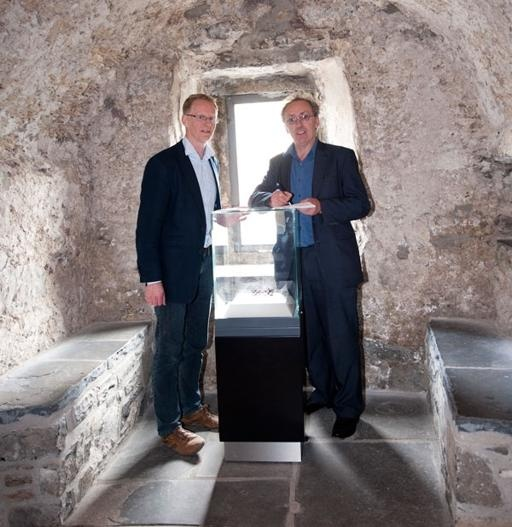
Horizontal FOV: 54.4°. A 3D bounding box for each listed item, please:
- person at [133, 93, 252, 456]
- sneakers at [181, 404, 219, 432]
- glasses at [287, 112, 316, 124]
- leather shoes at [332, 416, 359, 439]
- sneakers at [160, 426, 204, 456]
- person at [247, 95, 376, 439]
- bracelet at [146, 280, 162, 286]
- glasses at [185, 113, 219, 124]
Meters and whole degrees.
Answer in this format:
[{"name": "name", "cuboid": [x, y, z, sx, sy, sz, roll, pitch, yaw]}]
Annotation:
[{"name": "person", "cuboid": [-0.406, 0.071, 2.777, 0.360, 1.950, 0.532, 2, 12, 20]}, {"name": "sneakers", "cuboid": [-0.384, 0.958, 3.099, 0.310, 0.151, 0.111, 1, 7, 8]}, {"name": "glasses", "cuboid": [0.247, -0.808, 2.777, 0.142, 0.058, 0.044, -3, 11, -1]}, {"name": "leather shoes", "cuboid": [0.506, 0.934, 2.834, 0.117, 0.104, 0.096, 3, -8, 3]}, {"name": "sneakers", "cuboid": [-0.399, 0.967, 2.785, 0.253, 0.119, 0.104, 4, 9, 31]}, {"name": "person", "cuboid": [0.346, 0.007, 2.932, 0.530, 1.913, 0.660, -12, 15, -39]}, {"name": "bracelet", "cuboid": [-0.530, 0.100, 2.580, 0.080, 0.029, 0.050, -4, 12, -8]}, {"name": "glasses", "cuboid": [-0.298, -0.781, 2.677, 0.160, 0.055, 0.062, -5, 12, -13]}]
